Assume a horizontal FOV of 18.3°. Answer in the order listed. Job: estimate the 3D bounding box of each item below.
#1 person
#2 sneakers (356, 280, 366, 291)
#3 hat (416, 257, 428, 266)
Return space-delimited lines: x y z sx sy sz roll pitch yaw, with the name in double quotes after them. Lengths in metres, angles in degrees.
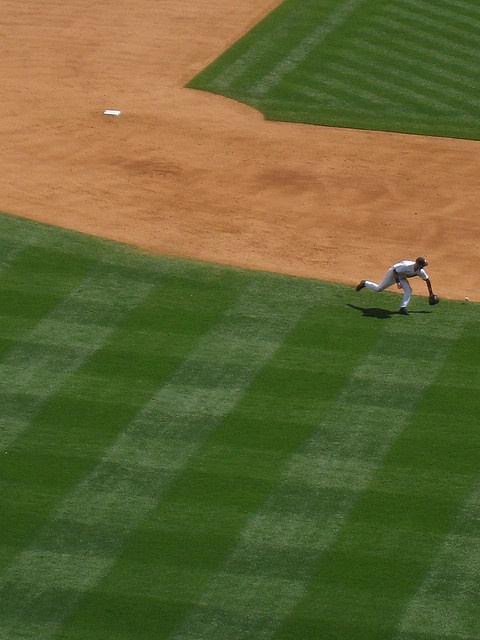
3.249 -0.825 30.905 1.728 1.190 0.640 19 9 30 "person"
2.599 -0.737 31.746 0.271 0.204 0.459 -2 -1 -1 "sneakers"
3.717 -1.157 30.032 0.159 0.208 0.150 -49 9 0 "hat"
